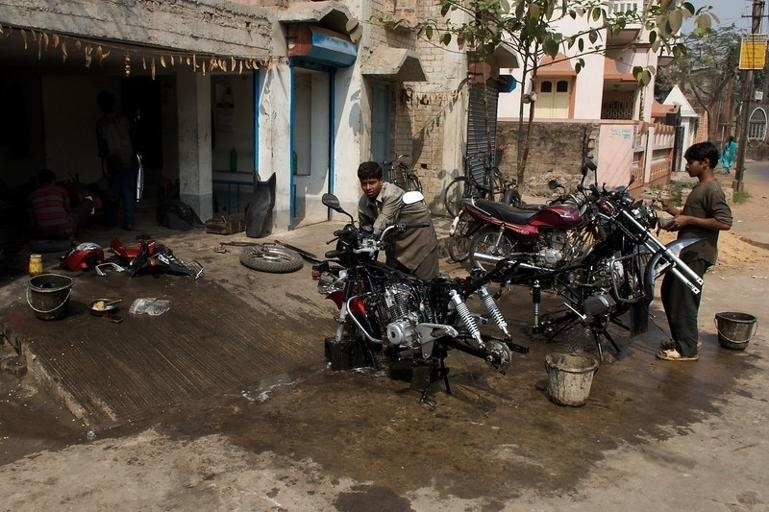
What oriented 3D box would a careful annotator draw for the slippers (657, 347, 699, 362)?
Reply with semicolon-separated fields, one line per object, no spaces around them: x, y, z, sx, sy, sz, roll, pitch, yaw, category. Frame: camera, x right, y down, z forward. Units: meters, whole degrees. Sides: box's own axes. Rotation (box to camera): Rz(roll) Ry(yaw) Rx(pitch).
3.636;1.238;6.824;0.455;0.124;0.186;2;3;8;slippers

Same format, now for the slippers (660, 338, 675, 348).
3.570;1.105;6.959;0.098;0.043;0.117;-1;12;3;slippers

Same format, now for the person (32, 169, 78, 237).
-5.435;-0.820;8.907;0.556;1.100;0.391;-3;16;-13;person

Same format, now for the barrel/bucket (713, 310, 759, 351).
4.664;0.968;7.240;0.531;0.379;0.516;-4;2;0;barrel/bucket

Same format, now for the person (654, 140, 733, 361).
3.835;-0.064;6.841;0.710;2.642;1.023;9;18;29;person

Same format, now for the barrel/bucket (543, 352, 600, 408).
1.925;1.278;5.876;0.571;0.474;0.556;2;8;0;barrel/bucket
